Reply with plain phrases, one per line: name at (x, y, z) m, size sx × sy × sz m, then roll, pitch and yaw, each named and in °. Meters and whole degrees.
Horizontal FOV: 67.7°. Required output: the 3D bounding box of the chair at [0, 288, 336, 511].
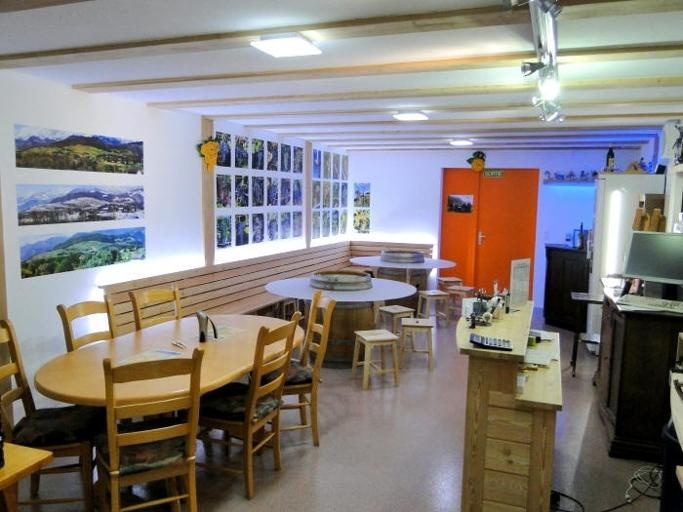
chair at (-1.422, 1.140, 4.042) m, size 1.447 × 1.398 × 2.054 m, roll 9°, pitch 14°, yaw 36°

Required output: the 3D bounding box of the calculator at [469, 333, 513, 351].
calculator at (1.079, 0.610, 3.653) m, size 0.296 × 0.045 × 0.319 m, roll 3°, pitch 11°, yaw 12°

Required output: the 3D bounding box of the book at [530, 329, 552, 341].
book at (1.808, 0.713, 4.571) m, size 0.138 × 0.037 × 0.125 m, roll 7°, pitch 6°, yaw 30°

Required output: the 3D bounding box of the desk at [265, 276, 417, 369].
desk at (-0.167, 0.884, 6.714) m, size 2.060 × 1.045 × 2.120 m, roll 6°, pitch 4°, yaw 9°

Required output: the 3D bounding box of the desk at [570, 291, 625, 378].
desk at (3.405, 0.901, 6.377) m, size 0.740 × 1.122 × 0.990 m, roll 1°, pitch 1°, yaw 36°
